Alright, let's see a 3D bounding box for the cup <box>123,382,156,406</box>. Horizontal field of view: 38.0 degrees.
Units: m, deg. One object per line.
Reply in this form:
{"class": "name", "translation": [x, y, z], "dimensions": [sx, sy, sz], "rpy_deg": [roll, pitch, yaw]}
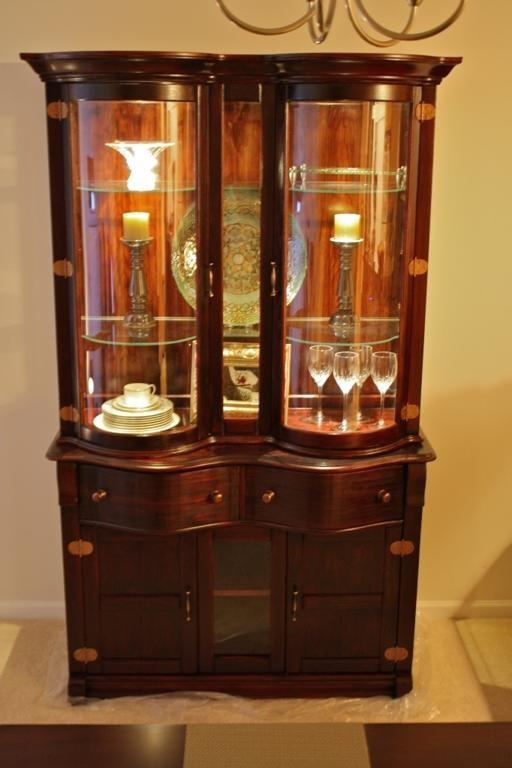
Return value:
{"class": "cup", "translation": [-0.310, 0.026, 2.005], "dimensions": [0.078, 0.046, 0.059], "rpy_deg": [-7, 18, -30]}

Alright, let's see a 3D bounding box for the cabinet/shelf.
{"class": "cabinet/shelf", "translation": [-0.036, 0.087, 2.045], "dimensions": [1.106, 1.855, 0.266], "rpy_deg": [-1, 21, 2]}
